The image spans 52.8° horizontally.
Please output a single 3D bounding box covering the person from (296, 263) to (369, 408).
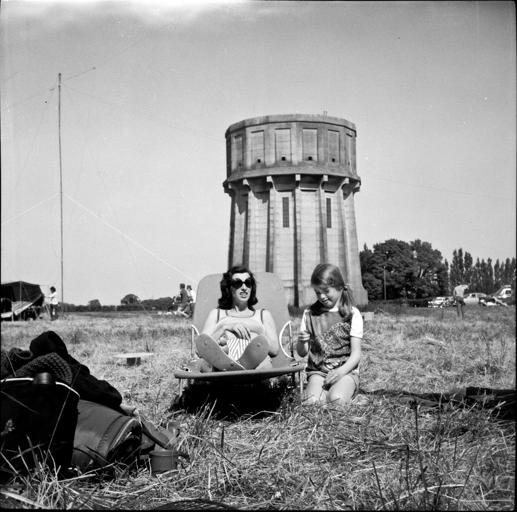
[{"bbox_3d":[0.459,0.493,3.414,0.427,0.874,0.426,0,-1,13],"label":"person"}]
